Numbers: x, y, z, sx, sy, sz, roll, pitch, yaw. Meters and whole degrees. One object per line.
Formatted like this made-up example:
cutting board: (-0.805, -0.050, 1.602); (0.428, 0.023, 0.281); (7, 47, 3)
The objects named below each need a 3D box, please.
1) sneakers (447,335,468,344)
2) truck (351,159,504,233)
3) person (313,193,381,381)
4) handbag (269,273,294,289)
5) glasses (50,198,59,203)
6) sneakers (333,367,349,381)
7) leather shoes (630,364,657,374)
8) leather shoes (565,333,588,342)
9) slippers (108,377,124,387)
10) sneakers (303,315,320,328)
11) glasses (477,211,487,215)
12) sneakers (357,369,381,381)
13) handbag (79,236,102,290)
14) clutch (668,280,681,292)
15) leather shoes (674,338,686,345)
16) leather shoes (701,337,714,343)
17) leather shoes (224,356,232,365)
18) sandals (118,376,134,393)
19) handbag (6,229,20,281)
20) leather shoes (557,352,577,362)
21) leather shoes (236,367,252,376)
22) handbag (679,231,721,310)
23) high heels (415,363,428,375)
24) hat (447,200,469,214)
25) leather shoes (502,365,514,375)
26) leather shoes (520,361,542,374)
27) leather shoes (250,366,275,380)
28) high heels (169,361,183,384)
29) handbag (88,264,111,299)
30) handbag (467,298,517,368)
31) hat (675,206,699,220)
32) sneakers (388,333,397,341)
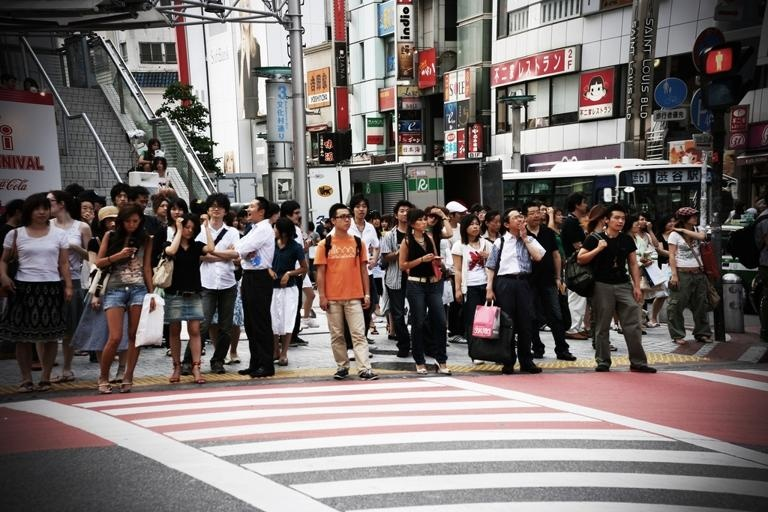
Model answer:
sneakers: (1.411, 1.619, 13.302); (0.392, 0.153, 0.150); (-2, -1, 20)
truck: (1.278, -1.829, 21.397); (2.249, 1.945, 3.836); (-1, 3, -21)
person: (-0.568, 0.529, 10.126); (0.821, 2.571, 0.440); (-2, 0, -3)
handbag: (-1.574, 0.402, 10.818); (0.237, 0.124, 0.236); (3, 6, 28)
glasses: (-4.757, -0.810, 9.967); (0.092, 0.029, 0.087); (17, -3, -28)
sneakers: (-0.622, 1.747, 10.214); (0.268, 0.111, 0.112); (2, -1, -23)
leather shoes: (3.966, 1.733, 10.580); (0.390, 0.142, 0.144); (-1, 3, 12)
leather shoes: (3.784, 1.588, 13.588); (0.481, 0.188, 0.182); (-1, 0, 18)
slippers: (-3.778, 1.783, 9.749); (0.123, 0.122, 0.346); (3, -8, -20)
sneakers: (-1.538, 1.438, 14.922); (0.484, 0.204, 0.189); (12, 25, -36)
glasses: (1.818, -0.793, 12.834); (0.133, 0.135, 0.040); (5, -43, -29)
sneakers: (-0.219, 1.753, 10.199); (0.325, 0.142, 0.127); (0, 3, 9)
handbag: (-4.099, 0.081, 9.667); (0.288, 0.805, 0.485); (1, 3, -2)
clutch: (5.305, 0.553, 12.684); (0.296, 0.205, 0.161); (-2, 2, -4)
leather shoes: (5.380, 1.553, 12.576); (0.202, 0.103, 0.177); (-2, 0, 20)
leather shoes: (5.915, 1.542, 12.596); (0.081, 0.048, 0.204); (0, 0, -2)
leather shoes: (-2.530, 1.699, 11.185); (0.193, 0.076, 0.207); (2, 12, -9)
sandals: (-3.488, 1.732, 9.329); (0.119, 0.097, 0.331); (0, 3, -8)
handbag: (-4.966, -0.015, 9.250); (0.140, 0.712, 0.208); (-2, 0, -27)
leather shoes: (3.053, 1.686, 11.543); (0.376, 0.147, 0.127); (-1, 3, 21)
leather shoes: (-2.082, 1.734, 10.423); (0.297, 0.117, 0.101); (3, 2, 23)
handbag: (5.901, 0.204, 12.811); (0.729, 1.360, 0.615); (-4, 0, -18)
high heels: (0.581, 1.724, 10.599); (0.174, 0.155, 0.278); (-2, 0, 3)
hat: (1.351, -0.913, 13.300); (0.413, 0.235, 0.295); (-5, 5, 30)
leather shoes: (1.894, 1.740, 10.578); (0.161, 0.111, 0.143); (-1, 0, 26)
leather shoes: (2.245, 1.736, 10.769); (0.143, 0.176, 0.415); (3, -8, -38)
leather shoes: (-1.794, 1.753, 10.320); (0.377, 0.157, 0.137); (2, -2, -4)
high heels: (-3.025, 1.744, 10.099); (0.138, 0.191, 0.454); (1, -16, -8)
handbag: (-3.759, 0.347, 9.135); (0.295, 0.389, 0.181); (-2, 0, -8)
handbag: (1.653, 1.160, 10.494); (1.116, 1.137, 0.600); (0, -5, 23)
hat: (5.845, -0.821, 13.196); (0.504, 0.179, 0.357); (-1, 4, 9)
sneakers: (0.167, 1.588, 13.480); (0.088, 0.109, 0.282); (1, 6, -11)
